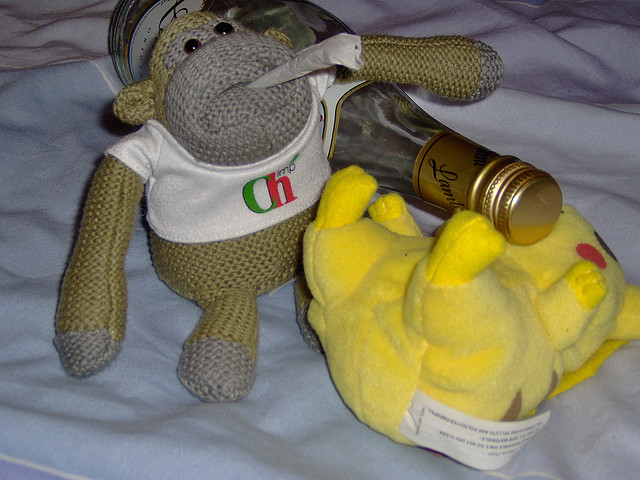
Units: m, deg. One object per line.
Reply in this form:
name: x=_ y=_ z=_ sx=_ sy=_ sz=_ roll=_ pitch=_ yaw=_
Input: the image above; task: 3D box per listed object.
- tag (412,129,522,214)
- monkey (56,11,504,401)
tag: x=0.157 y=-0.073 z=0.724 sx=0.109 sy=0.067 sz=0.067 roll=28 pitch=94 yaw=56
monkey: x=-0.072 y=-0.031 z=0.667 sx=0.315 sy=0.469 sz=0.278 roll=-11 pitch=31 yaw=-30
